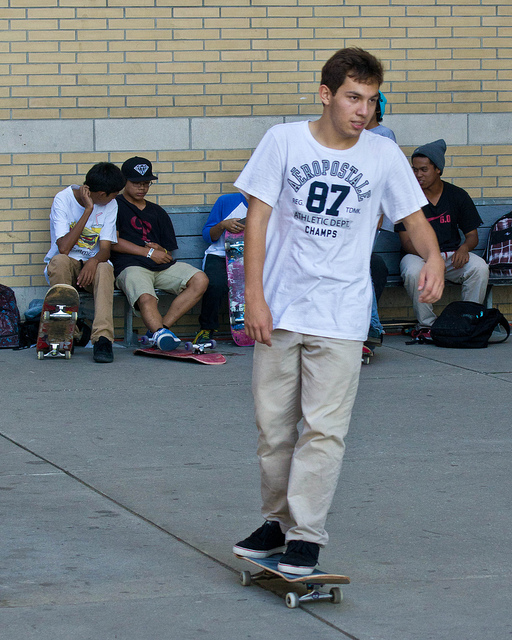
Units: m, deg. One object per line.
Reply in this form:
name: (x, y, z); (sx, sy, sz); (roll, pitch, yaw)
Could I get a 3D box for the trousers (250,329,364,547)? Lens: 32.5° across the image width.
trousers: (0.149, 0.367, 2.730); (0.343, 0.675, 0.283); (1, 10, 2)

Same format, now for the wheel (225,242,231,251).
wheel: (-0.237, -0.616, 7.314); (0.067, 0.065, 0.079); (-1, 2, -3)

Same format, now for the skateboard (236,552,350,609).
skateboard: (0.122, 0.774, 2.621); (0.133, 0.060, 0.339); (4, -3, -32)

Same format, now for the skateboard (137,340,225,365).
skateboard: (-0.519, 0.210, 6.738); (0.233, 0.103, 0.869); (1, 2, -31)

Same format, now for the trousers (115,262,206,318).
trousers: (-0.785, -0.328, 7.216); (0.631, 0.171, 0.590); (-9, 37, -21)

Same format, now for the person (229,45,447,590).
person: (0.211, -0.040, 2.766); (0.655, 1.589, 0.469); (-8, 13, -41)

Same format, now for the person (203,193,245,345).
person: (-0.324, -0.488, 7.526); (0.437, 1.392, 0.232); (-4, -4, -25)

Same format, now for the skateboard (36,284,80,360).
skateboard: (-1.465, 0.011, 6.527); (0.259, 0.640, 0.117); (5, 23, -11)

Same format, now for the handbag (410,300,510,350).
handbag: (1.701, 0.054, 7.246); (0.714, 0.218, 0.461); (1, 16, 11)

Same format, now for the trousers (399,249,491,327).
trousers: (1.659, -0.301, 7.704); (0.786, 0.699, 0.551); (-1, 7, 5)

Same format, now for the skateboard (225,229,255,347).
skateboard: (-0.140, -0.290, 7.299); (0.327, 1.025, 0.163); (-4, 6, -6)

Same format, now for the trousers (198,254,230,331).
trousers: (-0.340, -0.234, 7.325); (0.239, 0.613, 0.105); (7, -10, -21)

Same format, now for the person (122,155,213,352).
person: (-0.742, -0.542, 7.176); (0.690, 1.562, 1.324); (0, 9, -8)

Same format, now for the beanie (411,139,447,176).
beanie: (1.502, -1.406, 7.512); (0.227, 0.295, 0.377); (8, 11, 39)

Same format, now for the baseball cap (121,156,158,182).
baseball cap: (-0.950, -1.238, 7.144); (0.202, 0.139, 0.262); (-12, 27, -34)
